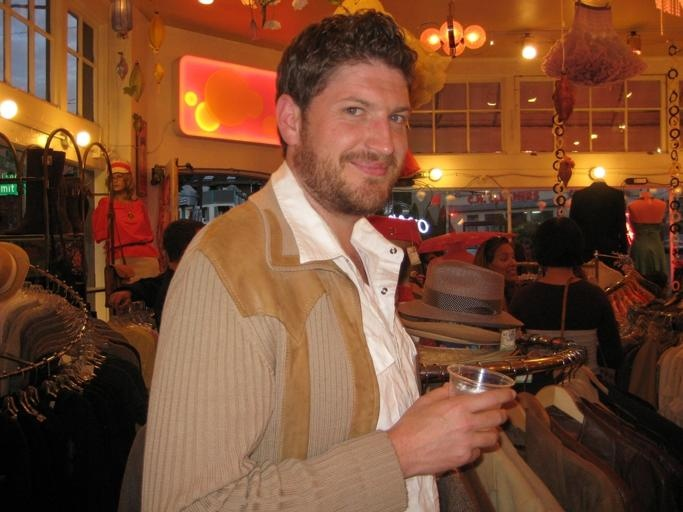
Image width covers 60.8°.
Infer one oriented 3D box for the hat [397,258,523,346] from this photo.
[{"bbox_3d":[0.508,0.219,2.658,0.417,0.249,0.409,2,5,42],"label":"hat"}]
